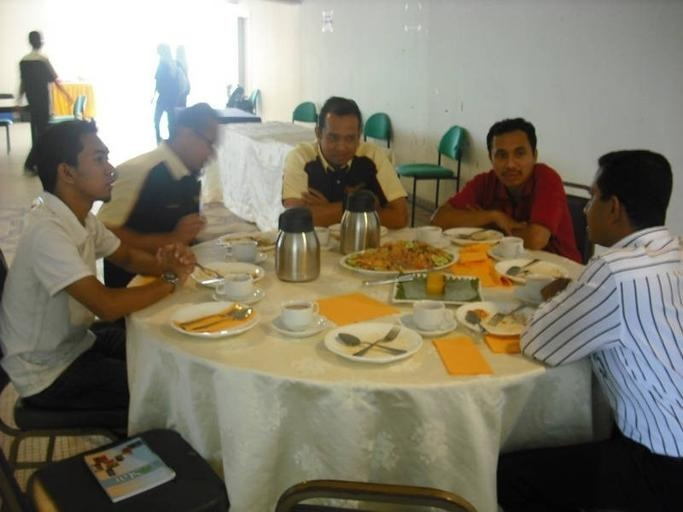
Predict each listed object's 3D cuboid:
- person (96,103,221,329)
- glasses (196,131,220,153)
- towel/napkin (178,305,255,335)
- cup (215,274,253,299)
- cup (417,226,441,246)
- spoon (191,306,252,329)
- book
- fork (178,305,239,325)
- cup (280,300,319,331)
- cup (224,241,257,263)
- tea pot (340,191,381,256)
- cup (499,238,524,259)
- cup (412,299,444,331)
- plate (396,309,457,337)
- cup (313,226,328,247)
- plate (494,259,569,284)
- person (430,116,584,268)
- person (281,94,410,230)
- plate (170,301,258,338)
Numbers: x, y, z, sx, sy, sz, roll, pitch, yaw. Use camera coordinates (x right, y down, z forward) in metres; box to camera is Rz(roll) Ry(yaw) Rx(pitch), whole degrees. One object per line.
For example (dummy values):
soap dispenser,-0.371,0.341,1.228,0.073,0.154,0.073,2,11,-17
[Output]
person,-0.901,-0.104,2.855,0.454,1.261,0.617,20,21,17
glasses,-0.655,-0.558,2.746,0.084,0.044,0.060,36,22,4
towel/napkin,-0.363,0.195,1.663,0.159,0.027,0.087,-12,27,-41
cup,-0.350,0.091,1.848,0.103,0.069,0.080,-7,24,-15
cup,0.384,-0.084,2.442,0.091,0.065,0.071,0,21,3
spoon,-0.349,0.186,1.682,0.057,0.021,0.177,23,26,35
book,-0.593,0.589,1.547,0.127,0.021,0.156,-8,29,-35
fork,-0.371,0.168,1.670,0.064,0.022,0.150,18,21,37
cup,-0.130,0.170,1.627,0.073,0.063,0.092,2,5,9
cup,-0.406,-0.023,2.243,0.119,0.074,0.087,-3,12,-11
tea pot,0.075,-0.141,2.294,0.182,0.262,0.242,-5,12,-22
cup,0.694,-0.032,2.298,0.070,0.066,0.091,-5,13,-6
cup,0.255,0.167,1.683,0.099,0.062,0.075,0,4,-37
plate,0.261,0.212,1.693,0.096,0.020,0.098,6,18,30
cup,-0.090,-0.089,2.440,0.066,0.063,0.075,-1,15,-2
plate,0.692,0.047,2.082,0.139,0.025,0.141,-5,20,-11
person,0.838,-0.235,2.856,0.625,0.858,0.623,6,21,39
person,-0.013,-0.424,3.063,0.669,0.807,0.489,-1,12,-8
plate,-0.383,0.193,1.672,0.133,0.018,0.139,-6,25,-22
